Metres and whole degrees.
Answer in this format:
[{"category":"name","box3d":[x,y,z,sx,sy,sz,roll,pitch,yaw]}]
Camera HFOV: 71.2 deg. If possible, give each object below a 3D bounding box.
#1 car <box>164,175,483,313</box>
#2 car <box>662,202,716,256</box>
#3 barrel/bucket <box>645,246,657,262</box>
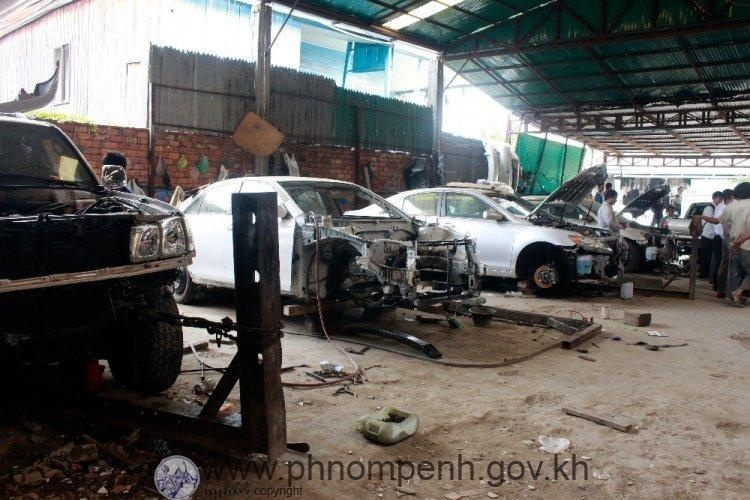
[{"category":"car","box3d":[-0.888,-0.057,7.816,4.164,1.509,2.216,3,3,32]},{"category":"car","box3d":[8.841,-0.612,15.128,1.574,1.497,3.376,3,10,37]},{"category":"barrel/bucket","box3d":[6.748,0.062,12.827,0.338,0.339,0.244,2,-1,-20]}]
